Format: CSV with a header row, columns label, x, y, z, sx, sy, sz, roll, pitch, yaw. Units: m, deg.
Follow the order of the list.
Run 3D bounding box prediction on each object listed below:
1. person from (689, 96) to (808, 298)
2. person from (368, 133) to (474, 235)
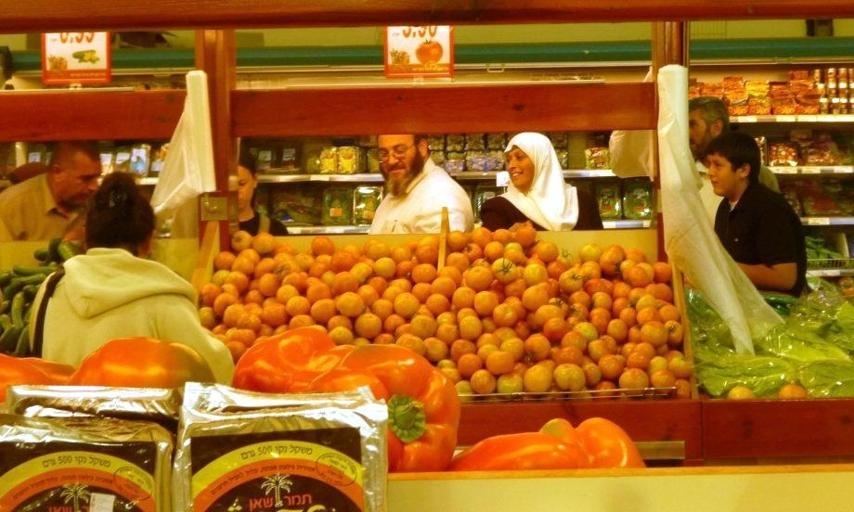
label,x,y,z,sx,sy,sz,roll,pitch,yaw
person,1.852,-0.418,4.029,0.477,1.175,1.176,0,4,10
person,-0.027,-0.568,5.171,0.675,0.902,1.149,-3,2,-20
